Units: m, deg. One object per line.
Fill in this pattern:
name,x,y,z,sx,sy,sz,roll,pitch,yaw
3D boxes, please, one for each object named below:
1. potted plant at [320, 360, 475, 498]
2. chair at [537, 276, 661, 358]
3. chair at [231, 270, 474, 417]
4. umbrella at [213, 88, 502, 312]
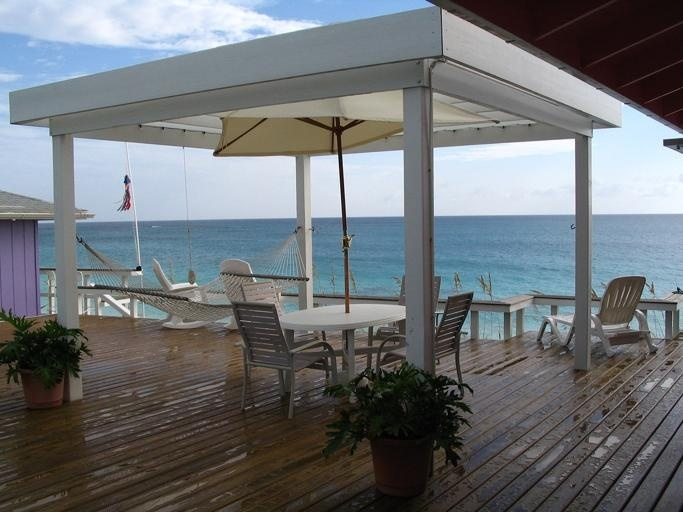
potted plant,0.302,1.087,3.180,0.874,0.712,1.012,7,-15,-27
chair,3.168,0.732,6.538,0.907,0.865,1.287,-1,-2,-24
chair,0.107,0.692,4.736,0.983,1.559,1.831,-1,0,38
umbrella,-0.090,-0.299,5.099,2.443,1.670,1.941,-5,3,-23
